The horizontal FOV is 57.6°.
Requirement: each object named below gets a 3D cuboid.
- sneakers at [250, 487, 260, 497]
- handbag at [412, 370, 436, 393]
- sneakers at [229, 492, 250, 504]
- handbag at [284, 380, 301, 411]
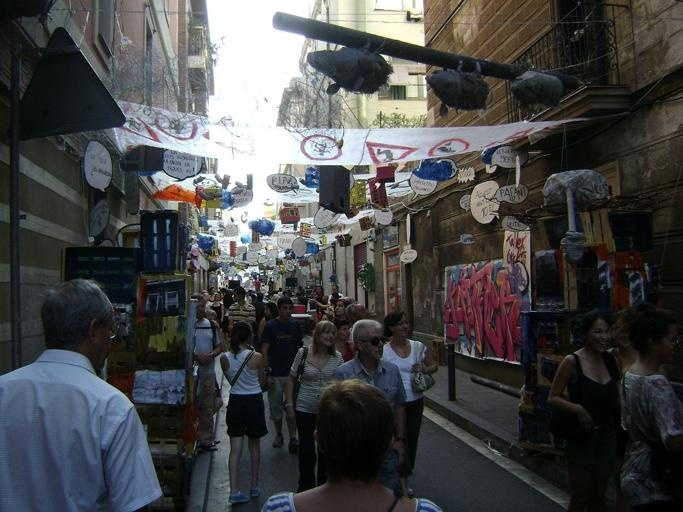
[{"bbox_3d":[-1.011,2.800,7.362,0.130,0.109,0.130,-2,0,-16],"label":"sneakers"},{"bbox_3d":[0.943,1.423,6.981,0.296,0.247,0.189,-2,0,-44],"label":"handbag"},{"bbox_3d":[-1.191,2.823,7.257,0.233,0.124,0.103,7,-2,-32],"label":"sneakers"},{"bbox_3d":[-0.578,1.625,7.276,0.215,0.353,0.326,4,-17,-7],"label":"handbag"}]
